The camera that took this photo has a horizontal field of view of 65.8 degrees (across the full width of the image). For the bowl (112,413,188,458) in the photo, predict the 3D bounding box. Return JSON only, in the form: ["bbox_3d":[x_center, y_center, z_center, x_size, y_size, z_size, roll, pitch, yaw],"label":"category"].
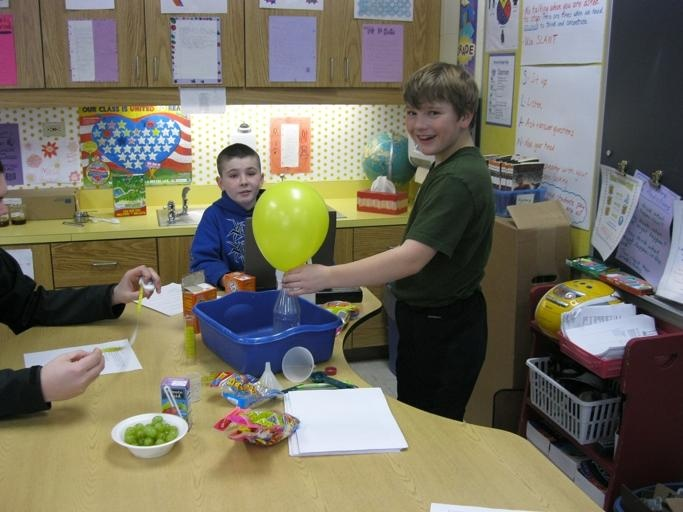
[{"bbox_3d":[-0.535,0.453,1.494,0.202,0.097,0.186,2,15,-1],"label":"bowl"}]

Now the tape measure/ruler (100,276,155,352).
[{"bbox_3d":[-0.794,0.226,2.009,0.073,0.290,0.100,25,-17,-31],"label":"tape measure/ruler"}]

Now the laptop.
[{"bbox_3d":[-0.233,-0.133,2.410,0.546,0.408,0.306,-1,6,-12],"label":"laptop"}]

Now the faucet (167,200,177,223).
[{"bbox_3d":[-1.112,-0.283,3.479,0.044,0.126,0.120,-8,19,-20],"label":"faucet"}]

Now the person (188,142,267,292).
[{"bbox_3d":[-0.597,-0.211,2.753,0.391,0.811,0.399,-2,19,-20],"label":"person"}]

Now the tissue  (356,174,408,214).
[{"bbox_3d":[0.293,-0.447,3.841,0.322,0.274,0.159,11,13,36],"label":"tissue "}]

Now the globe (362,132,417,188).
[{"bbox_3d":[0.380,-0.706,4.115,0.386,0.382,0.458,14,21,4],"label":"globe"}]

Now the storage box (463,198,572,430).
[{"bbox_3d":[0.816,0.285,2.959,0.492,1.201,0.659,0,10,-2],"label":"storage box"}]

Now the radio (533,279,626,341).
[{"bbox_3d":[1.104,0.255,2.450,0.355,0.267,0.283,-7,14,-19],"label":"radio"}]

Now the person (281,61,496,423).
[{"bbox_3d":[0.237,0.010,2.180,0.643,1.665,0.542,-5,11,-29],"label":"person"}]
